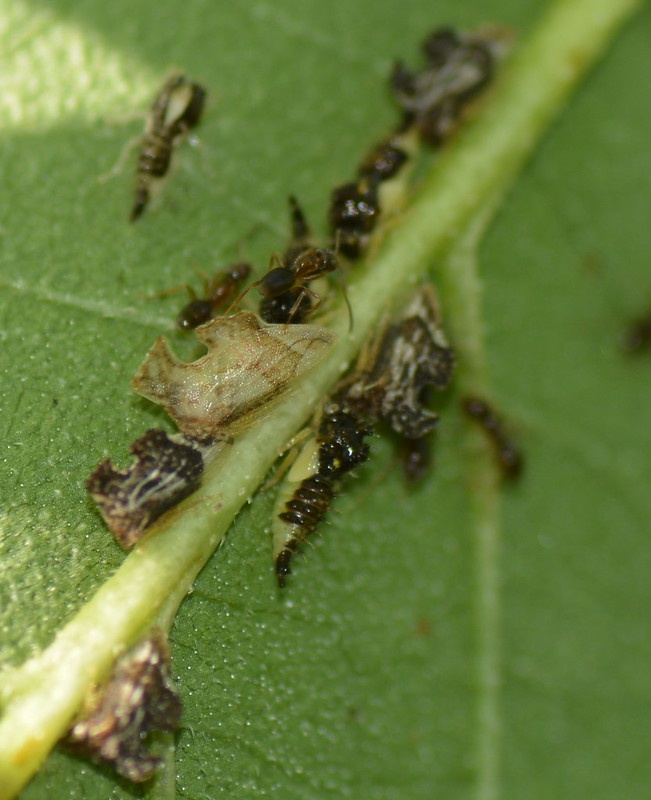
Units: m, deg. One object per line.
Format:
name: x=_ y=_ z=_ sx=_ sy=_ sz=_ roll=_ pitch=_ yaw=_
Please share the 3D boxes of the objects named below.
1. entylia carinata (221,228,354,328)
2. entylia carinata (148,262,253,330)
entylia carinata: x=-0.048 y=-0.213 z=1.755 sx=0.229 sy=0.067 sz=0.147 roll=-29 pitch=40 yaw=-8
entylia carinata: x=-0.238 y=-0.191 z=1.819 sx=0.156 sy=0.043 sz=0.163 roll=47 pitch=62 yaw=1
